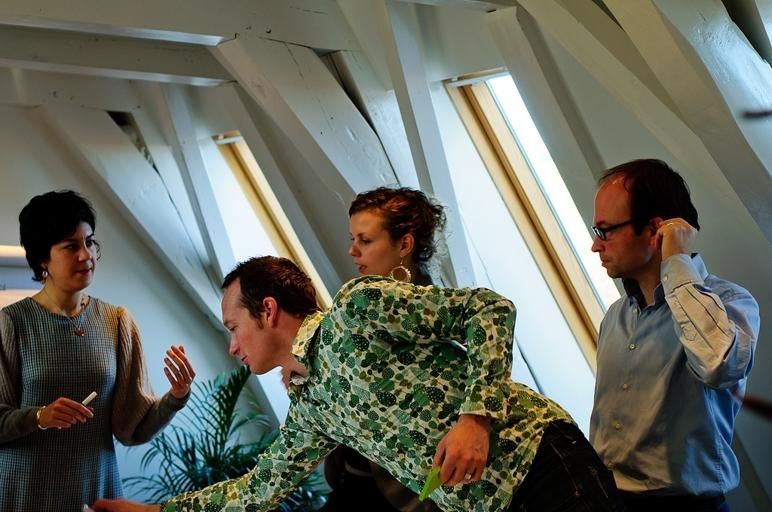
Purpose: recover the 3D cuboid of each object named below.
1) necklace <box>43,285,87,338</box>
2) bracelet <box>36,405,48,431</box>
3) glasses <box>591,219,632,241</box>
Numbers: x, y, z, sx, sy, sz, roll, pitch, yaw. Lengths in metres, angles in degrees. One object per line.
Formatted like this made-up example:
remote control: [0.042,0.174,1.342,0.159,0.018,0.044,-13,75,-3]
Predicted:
necklace: [-1.725,0.301,3.337,0.138,0.243,0.083,-2,-20,-24]
bracelet: [-1.731,0.824,3.148,0.051,0.115,0.203,-11,-7,-31]
glasses: [0.939,-0.115,2.602,0.096,0.030,0.095,-19,-5,-8]
